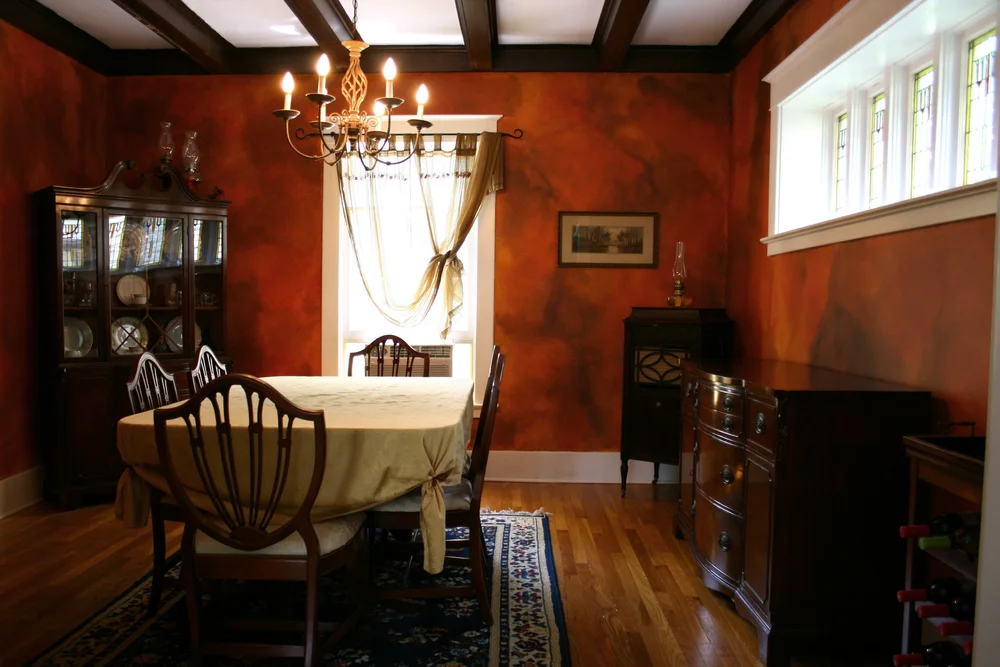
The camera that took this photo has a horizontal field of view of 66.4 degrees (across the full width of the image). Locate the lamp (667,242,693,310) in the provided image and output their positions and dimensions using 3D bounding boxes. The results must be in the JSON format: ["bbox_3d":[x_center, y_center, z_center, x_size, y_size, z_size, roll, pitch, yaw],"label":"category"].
[{"bbox_3d":[1.388,-0.438,5.869,0.173,0.471,0.556,4,14,13],"label":"lamp"}]

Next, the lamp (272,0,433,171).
[{"bbox_3d":[-0.956,-1.665,5.225,1.058,1.203,2.369,-3,14,-14],"label":"lamp"}]

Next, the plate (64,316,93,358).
[{"bbox_3d":[-3.029,0.027,5.498,0.189,0.268,0.090,-8,16,-33],"label":"plate"}]

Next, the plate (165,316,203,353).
[{"bbox_3d":[-2.417,0.012,5.815,0.242,0.262,0.033,4,2,-19],"label":"plate"}]

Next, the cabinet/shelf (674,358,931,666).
[{"bbox_3d":[1.759,0.932,4.699,1.075,1.928,2.239,2,2,4],"label":"cabinet/shelf"}]

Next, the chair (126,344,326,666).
[{"bbox_3d":[-1.246,0.877,3.805,0.955,1.493,0.732,7,15,25],"label":"chair"}]
